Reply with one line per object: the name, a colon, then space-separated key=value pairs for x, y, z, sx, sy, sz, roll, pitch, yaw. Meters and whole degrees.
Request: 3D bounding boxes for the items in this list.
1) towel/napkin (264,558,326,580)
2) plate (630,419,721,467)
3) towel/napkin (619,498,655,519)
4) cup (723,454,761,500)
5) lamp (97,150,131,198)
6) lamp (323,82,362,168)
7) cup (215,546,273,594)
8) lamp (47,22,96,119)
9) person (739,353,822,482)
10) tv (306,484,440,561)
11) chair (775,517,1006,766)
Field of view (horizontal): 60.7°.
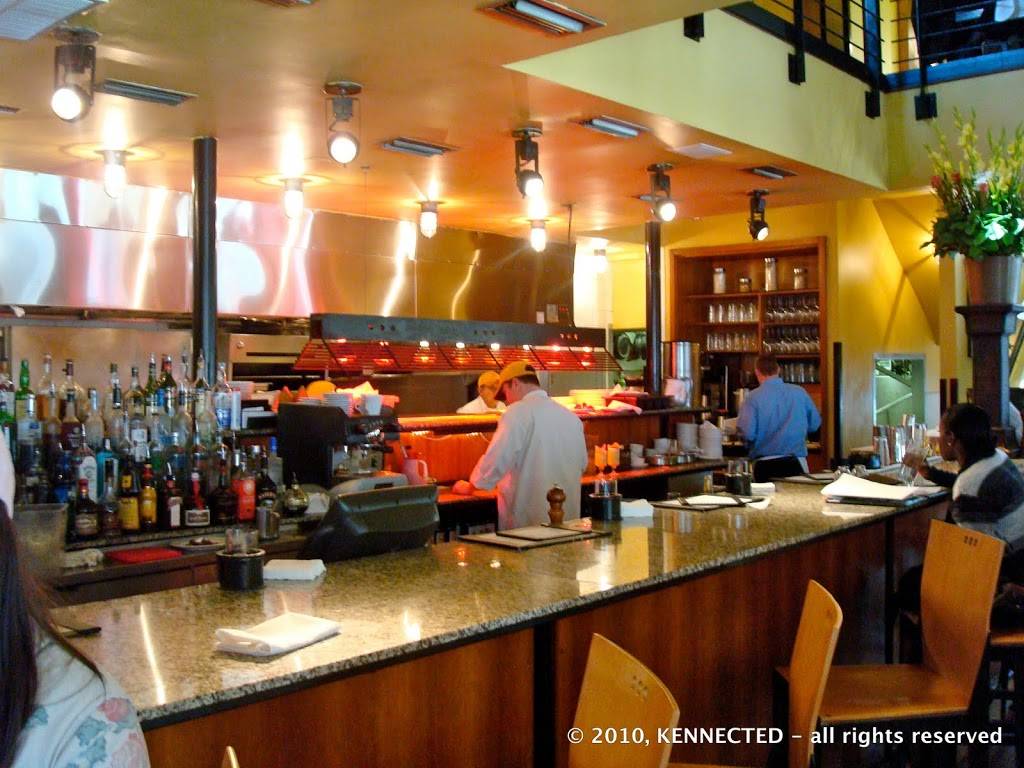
towel/napkin: x=-0.742 y=0.621 z=2.962 sx=0.200 sy=0.050 sz=0.173 roll=1 pitch=6 yaw=2
plate: x=1.412 y=0.482 z=7.221 sx=0.629 sy=0.313 sz=0.327 roll=-3 pitch=0 yaw=0
towel/napkin: x=0.571 y=0.560 z=3.958 sx=0.110 sy=0.043 sz=0.084 roll=1 pitch=-3 yaw=-41
cup: x=1.175 y=0.474 z=4.477 sx=0.140 sy=0.153 sz=0.310 roll=2 pitch=6 yaw=6
lamp: x=-2.738 y=-1.476 z=5.989 sx=0.257 sy=0.351 sz=0.254 roll=0 pitch=8 yaw=-19
lamp: x=-0.953 y=-1.455 z=4.891 sx=0.241 sy=0.404 sz=0.234 roll=3 pitch=5 yaw=-5
cup: x=-0.886 y=0.603 z=2.811 sx=0.111 sy=0.100 sz=0.141 roll=0 pitch=-6 yaw=-1
lamp: x=-2.003 y=-1.405 z=3.978 sx=0.206 sy=0.421 sz=0.196 roll=7 pitch=4 yaw=6
person: x=2.283 y=0.206 z=7.466 sx=0.671 sy=0.856 sz=0.346 roll=2 pitch=7 yaw=9
tv: x=-0.493 y=0.542 z=3.268 sx=0.451 sy=0.304 sz=0.260 roll=-4 pitch=7 yaw=-34
chair: x=1.343 y=1.058 z=3.207 sx=0.662 sy=1.052 sz=0.621 roll=-1 pitch=1 yaw=11
